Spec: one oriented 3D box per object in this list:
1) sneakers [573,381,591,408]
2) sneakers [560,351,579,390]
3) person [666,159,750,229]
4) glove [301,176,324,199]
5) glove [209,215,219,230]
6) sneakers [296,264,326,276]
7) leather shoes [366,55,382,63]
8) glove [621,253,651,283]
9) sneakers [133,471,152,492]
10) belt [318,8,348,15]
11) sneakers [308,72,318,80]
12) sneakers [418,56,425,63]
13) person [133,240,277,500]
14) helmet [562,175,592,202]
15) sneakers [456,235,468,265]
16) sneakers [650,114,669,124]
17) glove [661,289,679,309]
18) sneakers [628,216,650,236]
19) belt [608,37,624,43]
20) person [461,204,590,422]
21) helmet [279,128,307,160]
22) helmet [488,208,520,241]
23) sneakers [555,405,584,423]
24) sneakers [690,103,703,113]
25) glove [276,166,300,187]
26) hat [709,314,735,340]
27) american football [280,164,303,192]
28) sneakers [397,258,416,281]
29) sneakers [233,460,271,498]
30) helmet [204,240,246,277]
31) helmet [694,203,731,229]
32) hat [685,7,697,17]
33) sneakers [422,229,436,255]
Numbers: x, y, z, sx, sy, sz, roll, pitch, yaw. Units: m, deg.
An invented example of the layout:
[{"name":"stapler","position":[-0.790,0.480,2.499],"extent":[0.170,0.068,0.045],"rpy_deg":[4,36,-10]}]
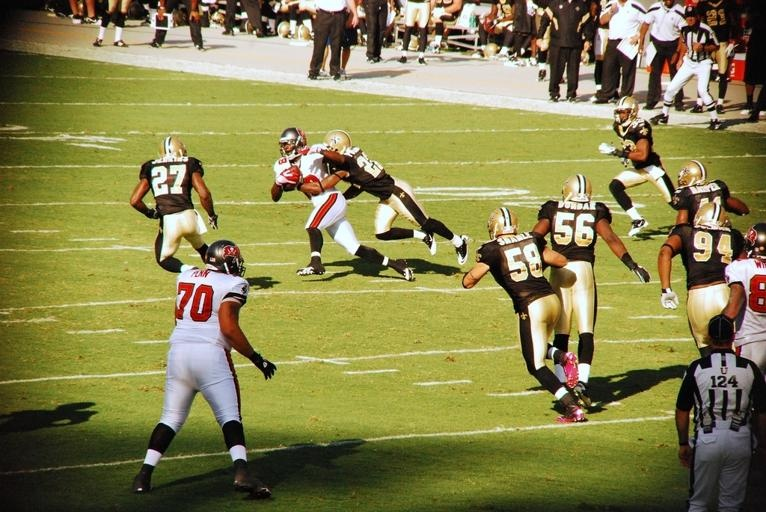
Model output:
[{"name":"sneakers","position":[2.165,1.509,10.911],"extent":[0.135,0.216,0.295],"rpy_deg":[-27,30,8]},{"name":"sneakers","position":[2.024,1.256,10.846],"extent":[0.175,0.371,0.182],"rpy_deg":[-5,7,1]},{"name":"person","position":[4.430,-0.687,13.765],"extent":[0.996,1.068,0.506],"rpy_deg":[-5,-7,16]},{"name":"glove","position":[-1.018,-1.009,14.479],"extent":[0.286,0.346,0.141],"rpy_deg":[3,40,19]},{"name":"glove","position":[-2.414,-0.467,14.226],"extent":[0.108,0.114,0.293],"rpy_deg":[-1,0,-13]},{"name":"sneakers","position":[-1.042,0.227,14.437],"extent":[0.412,0.170,0.148],"rpy_deg":[2,7,-2]},{"name":"leather shoes","position":[-0.249,-5.690,29.075],"extent":[0.479,0.254,0.293],"rpy_deg":[1,8,-19]},{"name":"glove","position":[3.421,0.194,13.525],"extent":[0.631,0.209,0.197],"rpy_deg":[27,0,-24]},{"name":"sneakers","position":[-2.204,2.074,9.121],"extent":[0.160,0.175,0.120],"rpy_deg":[17,26,12]},{"name":"belt","position":[-1.328,-5.949,24.482],"extent":[0.325,0.071,0.297],"rpy_deg":[-3,6,-42]},{"name":"sneakers","position":[-1.856,-4.679,26.221],"extent":[0.261,0.192,0.193],"rpy_deg":[-3,20,6]},{"name":"sneakers","position":[1.136,-5.703,29.410],"extent":[0.227,0.197,0.534],"rpy_deg":[4,7,1]},{"name":"person","position":[-1.622,1.038,9.275],"extent":[1.120,2.269,0.824],"rpy_deg":[4,8,4]},{"name":"helmet","position":[2.232,-0.756,11.487],"extent":[0.282,0.268,0.348],"rpy_deg":[3,18,-2]},{"name":"sneakers","position":[1.151,-0.068,14.736],"extent":[0.163,0.432,0.210],"rpy_deg":[14,21,40]},{"name":"sneakers","position":[6.265,-3.082,22.610],"extent":[0.496,0.157,0.209],"rpy_deg":[-3,-32,0]},{"name":"glove","position":[3.305,0.488,11.565],"extent":[0.263,0.291,0.097],"rpy_deg":[2,16,4]},{"name":"sneakers","position":[4.167,-0.451,16.266],"extent":[0.178,0.322,0.109],"rpy_deg":[18,33,-17]},{"name":"belt","position":[5.277,-4.842,22.574],"extent":[0.223,0.048,0.201],"rpy_deg":[1,2,-8]},{"name":"person","position":[1.603,0.649,10.931],"extent":[1.429,2.244,0.686],"rpy_deg":[5,8,11]},{"name":"helmet","position":[-1.326,-1.671,14.821],"extent":[0.486,0.397,0.384],"rpy_deg":[-20,18,-38]},{"name":"helmet","position":[1.334,-0.345,11.103],"extent":[0.339,0.350,0.403],"rpy_deg":[-3,15,-6]},{"name":"sneakers","position":[2.041,1.722,10.806],"extent":[0.152,0.164,0.344],"rpy_deg":[-9,7,-32]},{"name":"sneakers","position":[7.412,-3.422,23.448],"extent":[0.341,0.117,0.169],"rpy_deg":[-12,28,-36]},{"name":"glove","position":[-1.367,-1.135,14.388],"extent":[0.369,0.275,0.203],"rpy_deg":[1,8,-15]},{"name":"hat","position":[3.067,0.672,9.050],"extent":[0.189,0.232,0.151],"rpy_deg":[2,-21,18]},{"name":"american football","position":[-1.308,-1.107,14.408],"extent":[0.285,0.253,0.363],"rpy_deg":[5,-21,-40]},{"name":"sneakers","position":[0.316,0.221,14.395],"extent":[0.154,0.329,0.202],"rpy_deg":[-35,10,2]},{"name":"sneakers","position":[-1.219,2.072,9.182],"extent":[0.295,0.114,0.265],"rpy_deg":[35,16,-35]},{"name":"helmet","position":[-1.552,0.056,9.587],"extent":[0.350,0.356,0.461],"rpy_deg":[-1,-3,37]},{"name":"helmet","position":[3.725,-0.440,11.251],"extent":[0.291,0.280,0.352],"rpy_deg":[9,36,-2]},{"name":"hat","position":[6.537,-5.140,21.181],"extent":[0.236,0.218,0.314],"rpy_deg":[5,8,14]},{"name":"sneakers","position":[0.670,-0.193,14.970],"extent":[0.145,0.409,0.187],"rpy_deg":[11,43,44]}]
